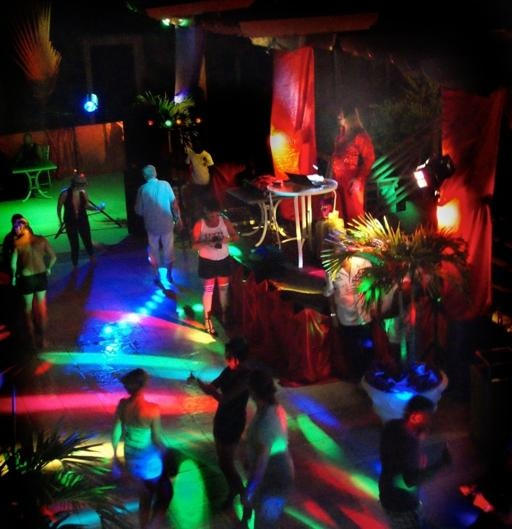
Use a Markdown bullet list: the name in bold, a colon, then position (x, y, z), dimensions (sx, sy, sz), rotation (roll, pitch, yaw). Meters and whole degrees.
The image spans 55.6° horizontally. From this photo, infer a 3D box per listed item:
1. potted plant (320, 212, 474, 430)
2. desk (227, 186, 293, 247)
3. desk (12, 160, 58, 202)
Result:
- **potted plant**: position (1.036, 0.560, 4.395), dimensions (0.986, 1.626, 1.200), rotation (22, -6, 5)
- **desk**: position (0.076, -0.845, 8.300), dimensions (1.069, 0.780, 1.191), rotation (-4, 26, -11)
- **desk**: position (-5.872, -2.256, 12.944), dimensions (1.034, 0.852, 1.046), rotation (-10, 34, -20)
